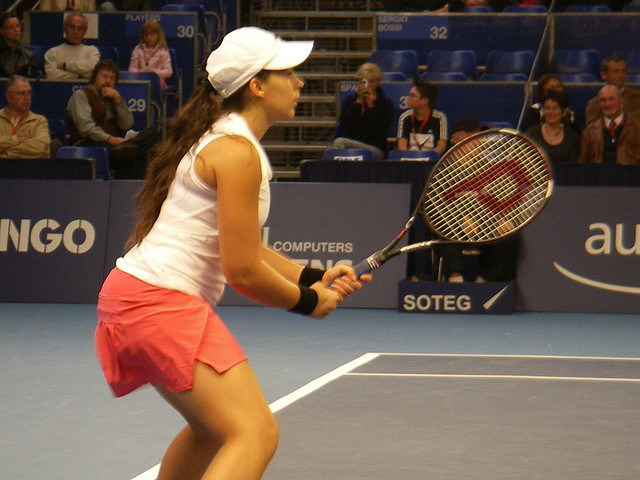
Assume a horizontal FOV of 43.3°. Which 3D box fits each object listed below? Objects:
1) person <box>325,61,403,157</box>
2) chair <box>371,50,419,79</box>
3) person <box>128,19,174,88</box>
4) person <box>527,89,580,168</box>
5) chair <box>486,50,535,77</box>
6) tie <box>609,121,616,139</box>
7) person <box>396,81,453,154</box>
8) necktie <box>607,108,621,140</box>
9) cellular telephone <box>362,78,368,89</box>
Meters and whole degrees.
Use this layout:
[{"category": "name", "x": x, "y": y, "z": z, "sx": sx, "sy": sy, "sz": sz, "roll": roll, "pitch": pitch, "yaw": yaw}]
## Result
[{"category": "person", "x": 0.489, "y": -1.515, "z": 10.072, "sx": 0.922, "sy": 1.285, "sz": 0.759, "roll": -7, "pitch": 27, "yaw": -33}, {"category": "chair", "x": 1.108, "y": -2.634, "z": 11.885, "sx": 0.559, "sy": 0.551, "sz": 0.493, "roll": 0, "pitch": -1, "yaw": 11}, {"category": "person", "x": -2.419, "y": -2.603, "z": 11.443, "sx": 0.530, "sy": 0.972, "sz": 0.551, "roll": 10, "pitch": 20, "yaw": 11}, {"category": "person", "x": 2.542, "y": -1.160, "z": 8.952, "sx": 0.602, "sy": 1.006, "sz": 0.513, "roll": 3, "pitch": 25, "yaw": 14}, {"category": "chair", "x": 2.739, "y": -2.592, "z": 11.728, "sx": 0.517, "sy": 0.492, "sz": 0.456, "roll": 1, "pitch": -19, "yaw": 8}, {"category": "tie", "x": 3.198, "y": -1.221, "z": 8.919, "sx": 0.046, "sy": 0.230, "sz": 0.032, "roll": -2, "pitch": -31, "yaw": 17}, {"category": "person", "x": 1.203, "y": -1.398, "z": 9.537, "sx": 0.631, "sy": 0.912, "sz": 0.541, "roll": 5, "pitch": 3, "yaw": 16}, {"category": "necktie", "x": 3.185, "y": -1.291, "z": 8.915, "sx": 0.138, "sy": 0.255, "sz": 0.017, "roll": -20, "pitch": -38, "yaw": 34}, {"category": "cellular telephone", "x": 0.546, "y": -1.934, "z": 9.922, "sx": 0.061, "sy": 0.094, "sz": 0.025, "roll": -4, "pitch": -2, "yaw": 26}]
